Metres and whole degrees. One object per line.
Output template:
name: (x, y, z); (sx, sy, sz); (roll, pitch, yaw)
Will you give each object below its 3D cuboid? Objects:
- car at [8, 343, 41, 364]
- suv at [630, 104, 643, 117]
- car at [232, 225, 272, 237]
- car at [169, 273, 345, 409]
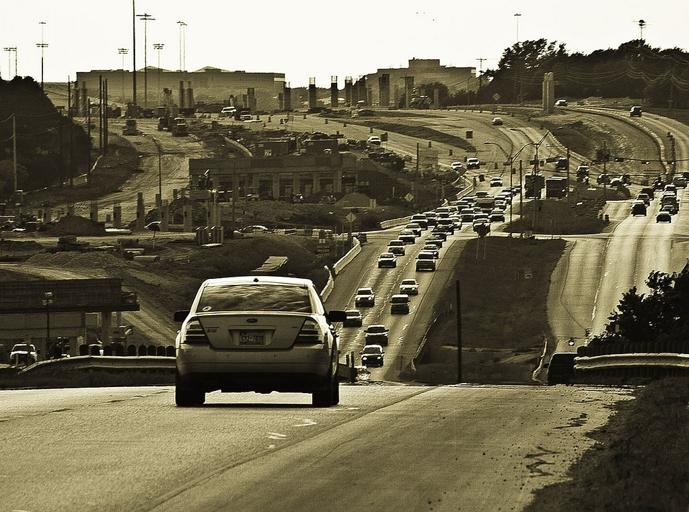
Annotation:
car: (-13.609, 4.116, 58.357); (1.013, 0.688, 1.778); (0, -6, -8)
suv: (48.416, -23.902, 229.226); (2.359, 1.560, 3.601); (0, 11, 6)
car: (-8.465, -2.171, 126.619); (3.167, 0.797, 1.295); (2, 6, 5)
car: (-1.448, 1.539, 22.204); (2.634, 2.138, 1.190); (-2, 11, -3)
